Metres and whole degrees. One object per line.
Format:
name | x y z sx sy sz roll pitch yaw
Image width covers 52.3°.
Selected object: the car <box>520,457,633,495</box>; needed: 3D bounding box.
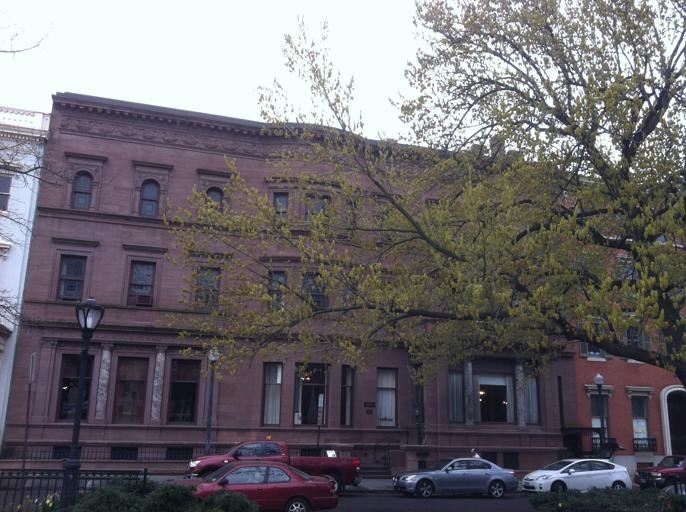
car | 9.963 9.278 29.765 4.306 1.306 1.876 5 -20 -18
